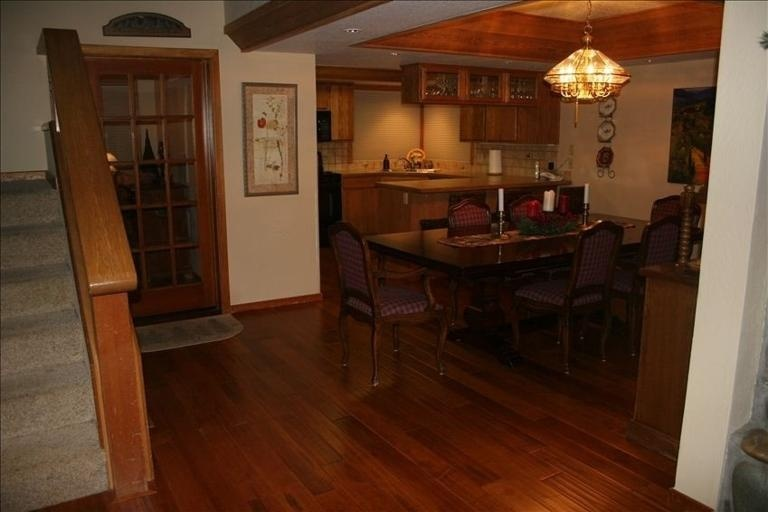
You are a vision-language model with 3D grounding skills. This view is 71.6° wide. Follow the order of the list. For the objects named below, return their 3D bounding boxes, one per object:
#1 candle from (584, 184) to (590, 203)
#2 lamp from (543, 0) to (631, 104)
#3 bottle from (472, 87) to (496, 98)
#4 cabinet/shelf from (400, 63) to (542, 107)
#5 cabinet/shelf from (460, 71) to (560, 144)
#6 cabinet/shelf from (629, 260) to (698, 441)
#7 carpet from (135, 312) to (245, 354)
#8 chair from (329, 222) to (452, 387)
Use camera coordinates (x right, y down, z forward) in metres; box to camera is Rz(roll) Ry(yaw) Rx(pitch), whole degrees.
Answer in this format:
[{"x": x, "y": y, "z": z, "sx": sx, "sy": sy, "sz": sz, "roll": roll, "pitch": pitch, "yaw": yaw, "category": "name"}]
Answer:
[{"x": 2.055, "y": -0.636, "z": 5.408, "sx": 0.020, "sy": 0.198, "sz": 0.170, "roll": 6, "pitch": 17, "yaw": 29, "category": "candle"}, {"x": 1.866, "y": -1.723, "z": 4.930, "sx": 0.734, "sy": 0.574, "sz": 0.314, "roll": 2, "pitch": 16, "yaw": 16, "category": "lamp"}, {"x": 1.264, "y": -2.038, "z": 6.739, "sx": 0.235, "sy": 0.068, "sz": 0.166, "roll": -4, "pitch": 10, "yaw": -29, "category": "bottle"}, {"x": 1.135, "y": -2.138, "z": 6.695, "sx": 1.889, "sy": 0.477, "sz": 0.319, "roll": -8, "pitch": 16, "yaw": -25, "category": "cabinet/shelf"}, {"x": 1.773, "y": -2.043, "z": 7.297, "sx": 1.084, "sy": 0.639, "sz": 0.396, "roll": -1, "pitch": 7, "yaw": -13, "category": "cabinet/shelf"}, {"x": 1.793, "y": 0.629, "z": 3.466, "sx": 0.368, "sy": 1.056, "sz": 0.275, "roll": 10, "pitch": 20, "yaw": 38, "category": "cabinet/shelf"}, {"x": -1.930, "y": 0.746, "z": 5.315, "sx": 0.958, "sy": 0.060, "sz": 0.723, "roll": -8, "pitch": 14, "yaw": -25, "category": "carpet"}, {"x": 0.035, "y": 0.328, "z": 4.415, "sx": 0.798, "sy": 1.311, "sz": 0.578, "roll": -8, "pitch": 16, "yaw": -19, "category": "chair"}]
